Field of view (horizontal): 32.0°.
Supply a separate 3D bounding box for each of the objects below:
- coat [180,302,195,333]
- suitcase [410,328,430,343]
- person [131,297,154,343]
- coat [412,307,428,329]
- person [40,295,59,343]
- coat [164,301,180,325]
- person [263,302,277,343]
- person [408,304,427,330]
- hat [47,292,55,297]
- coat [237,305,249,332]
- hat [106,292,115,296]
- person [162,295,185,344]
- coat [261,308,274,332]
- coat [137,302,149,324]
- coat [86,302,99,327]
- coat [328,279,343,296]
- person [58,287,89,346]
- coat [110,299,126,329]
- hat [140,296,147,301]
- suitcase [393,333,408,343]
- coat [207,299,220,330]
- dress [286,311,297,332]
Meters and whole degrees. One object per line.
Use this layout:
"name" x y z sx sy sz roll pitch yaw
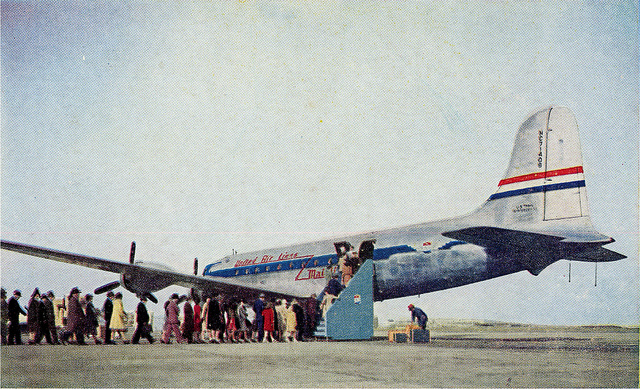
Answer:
"coat" -4.451 4.107 36.982 0.479 1.030 0.371 -2 13 -8
"suitcase" 3.288 4.742 37.122 0.599 0.302 0.516 -1 -10 1
"person" -5.947 4.198 36.915 0.693 1.553 0.962 -1 12 -8
"coat" 3.344 4.203 37.698 0.513 0.716 0.497 1 12 4
"person" -8.816 4.053 36.379 0.438 1.469 0.472 -6 2 -9
"coat" -4.906 3.924 36.791 0.410 0.829 0.641 -3 12 -15
"person" -1.758 4.289 37.222 0.339 1.244 0.560 -1 12 -4
"person" 3.260 4.128 37.722 0.644 0.776 0.210 1 13 2
"hat" -8.879 3.294 36.619 0.161 0.214 0.248 -2 11 -13
"coat" -2.638 4.205 37.560 0.360 0.879 0.544 -1 12 -4
"hat" -7.032 3.332 37.260 0.310 0.061 0.286 -2 3 -32
"person" -4.887 4.176 36.743 0.659 1.663 0.553 -1 13 -8
"coat" -1.778 4.207 37.253 0.353 0.801 0.320 0 12 -3
"coat" -5.837 3.907 36.493 0.348 0.731 0.247 -2 13 -8
"coat" -7.486 3.942 36.517 0.317 0.833 0.519 6 13 24
"coat" 0.460 3.116 37.279 0.395 0.490 0.392 11 16 42
"person" -8.014 4.046 36.273 0.824 2.009 0.711 -2 13 -12
"coat" -6.722 3.956 36.615 0.434 0.983 0.325 1 13 4
"hat" -5.887 3.450 36.860 0.156 0.114 0.035 -4 -26 -13
"suitcase" 2.620 4.789 37.009 0.414 0.206 0.357 0 -11 0
"coat" -3.560 4.047 37.177 0.268 0.994 0.456 10 16 38
"dress" -0.993 4.252 37.191 0.292 0.657 0.260 0 12 -2
